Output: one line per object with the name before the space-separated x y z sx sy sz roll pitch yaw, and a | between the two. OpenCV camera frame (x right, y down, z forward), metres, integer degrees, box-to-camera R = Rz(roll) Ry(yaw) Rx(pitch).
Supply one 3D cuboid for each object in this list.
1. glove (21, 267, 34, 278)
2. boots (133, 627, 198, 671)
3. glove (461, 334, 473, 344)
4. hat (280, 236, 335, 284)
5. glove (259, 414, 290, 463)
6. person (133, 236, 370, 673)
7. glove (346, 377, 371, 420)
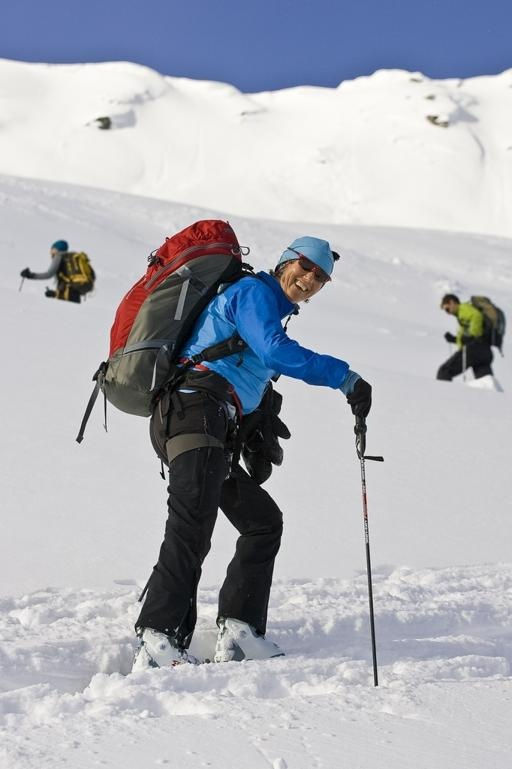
glove | -3.085 -1.506 11.985 0.150 0.133 0.521 1 10 -17
boots | -0.377 1.129 3.658 0.257 0.175 0.242 4 10 -4
glove | 2.670 -0.577 11.272 0.202 0.126 0.099 -4 11 -4
hat | 0.217 -0.611 4.354 0.208 0.130 0.265 34 -12 -28
glove | 0.073 0.278 4.557 0.063 0.231 0.162 -19 -18 40
person | -0.046 0.314 4.046 0.889 1.993 1.194 4 10 -6
glove | 0.474 0.063 3.928 0.128 0.158 0.067 -16 3 43
